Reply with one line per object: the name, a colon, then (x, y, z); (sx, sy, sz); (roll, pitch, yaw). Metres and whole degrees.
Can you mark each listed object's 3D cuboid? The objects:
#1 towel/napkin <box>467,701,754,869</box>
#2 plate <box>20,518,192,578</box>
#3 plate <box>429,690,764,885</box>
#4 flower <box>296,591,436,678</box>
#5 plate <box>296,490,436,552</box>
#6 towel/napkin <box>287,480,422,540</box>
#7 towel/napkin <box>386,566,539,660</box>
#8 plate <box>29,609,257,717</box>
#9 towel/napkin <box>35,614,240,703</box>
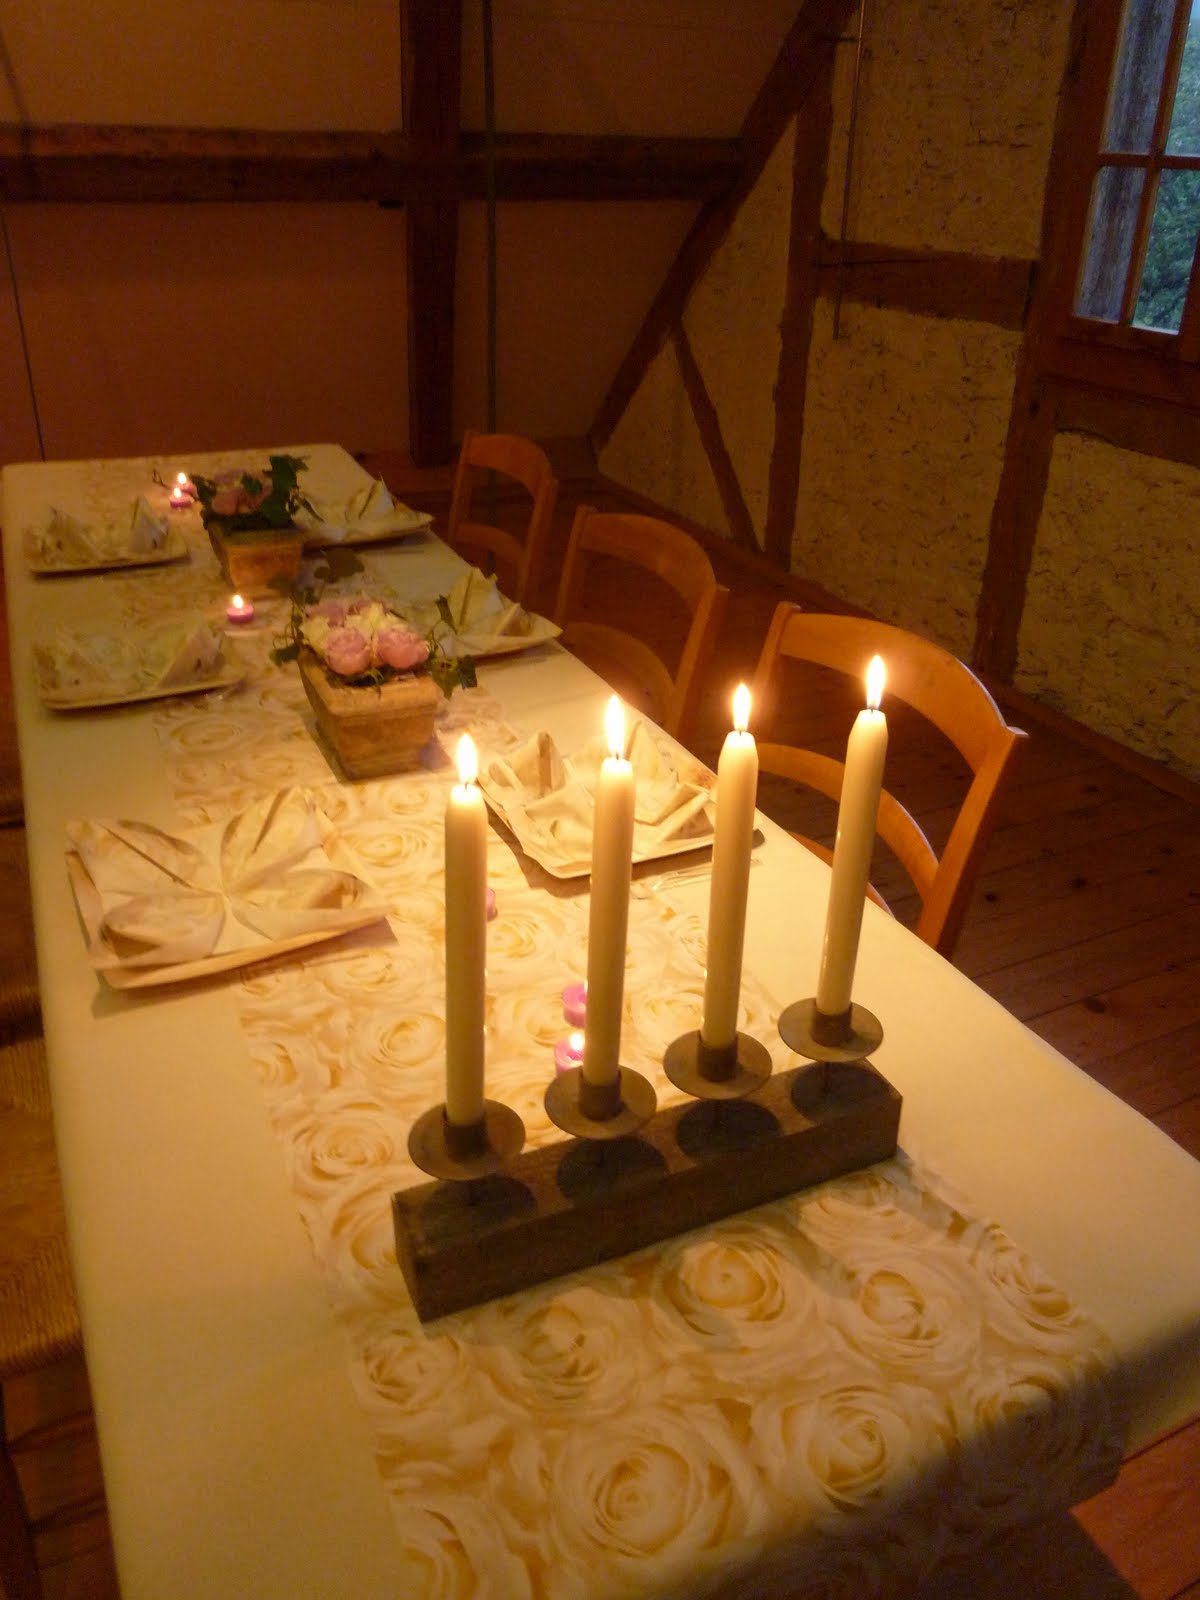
towel/napkin: (-0.002, 0.004, 1.392); (0.179, 0.062, 0.193); (-11, 32, -18)
plate: (-0.862, -0.428, 2.212); (0.198, 0.029, 0.136); (-8, 35, -14)
plate: (0.005, -0.002, 1.407); (0.197, 0.046, 0.261); (-12, 39, -23)
flower: (-0.282, -0.208, 1.512); (0.112, 0.046, 0.125); (2, 11, -22)
plate: (-0.440, -0.516, 2.377); (0.186, 0.058, 0.173); (-5, 26, -12)
towel/napkin: (-0.476, -0.544, 2.418); (0.199, 0.071, 0.203); (-6, 29, -15)
towel/napkin: (-0.199, -0.284, 1.935); (0.175, 0.055, 0.183); (-20, 51, -27)
plate: (-0.628, -0.227, 1.712); (0.202, 0.066, 0.183); (-14, 35, -18)
towel/napkin: (-0.644, -0.203, 1.725); (0.185, 0.060, 0.174); (-14, 30, -20)
